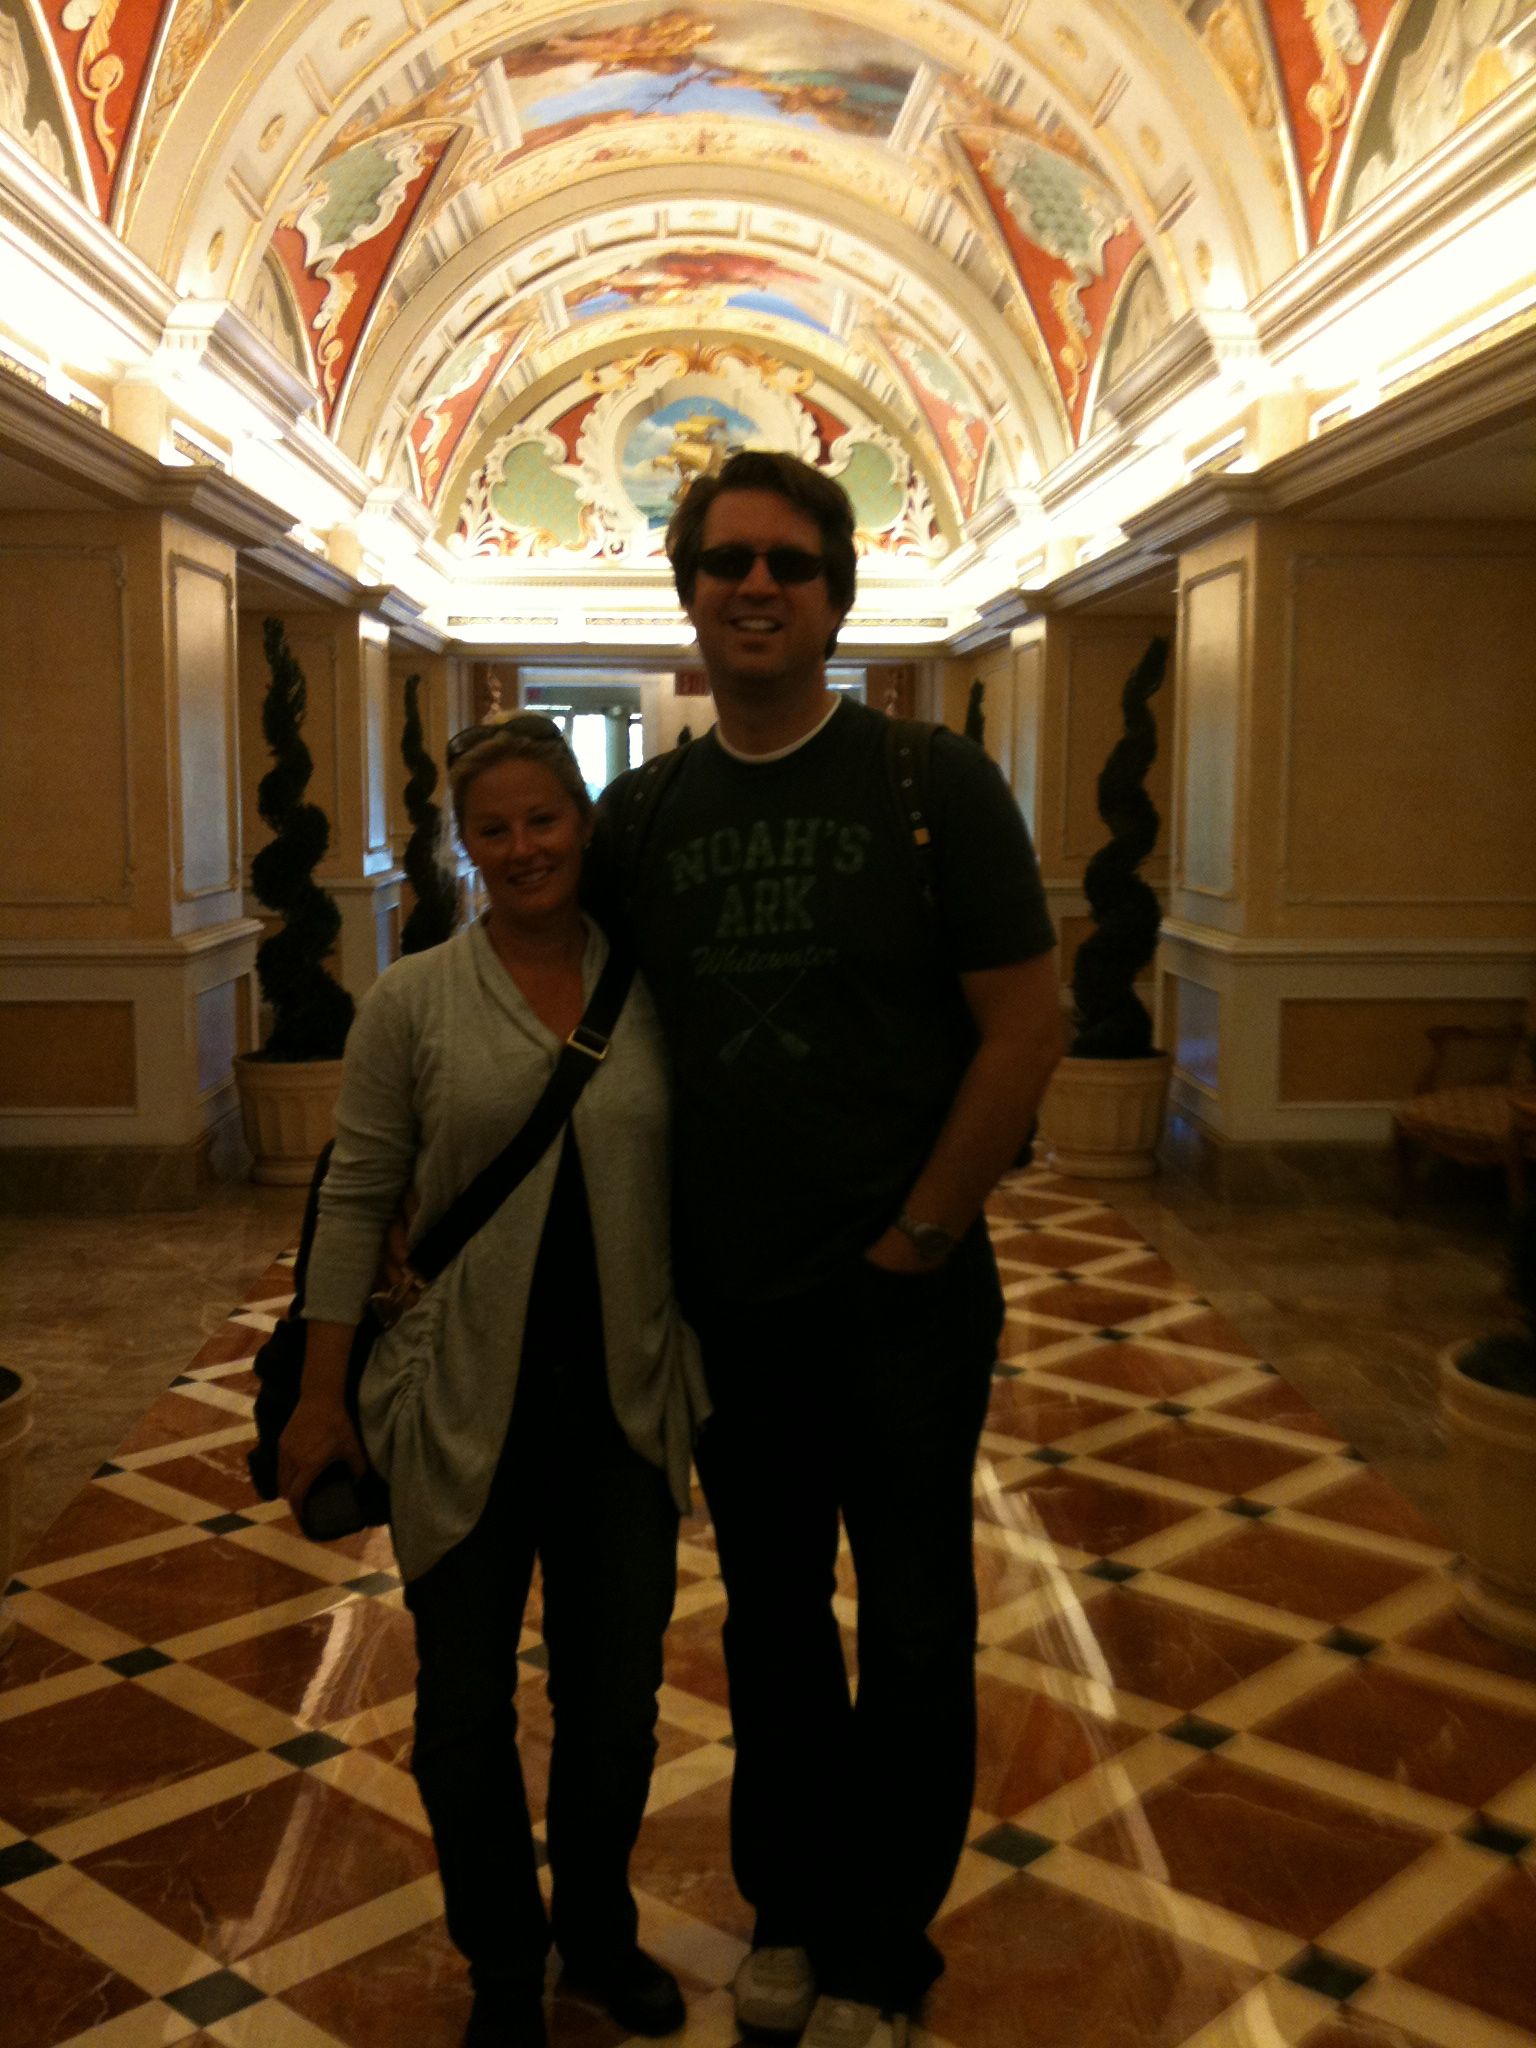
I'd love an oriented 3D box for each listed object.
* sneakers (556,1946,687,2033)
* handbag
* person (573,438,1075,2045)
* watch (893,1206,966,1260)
[{"bbox_3d":[-0.166,1.157,1.723,0.168,0.108,0.081,1,-1,9],"label":"sneakers"},{"bbox_3d":[-0.467,0.352,1.613,0.230,0.387,0.102,-2,-9,26],"label":"handbag"},{"bbox_3d":[0.056,0.299,1.548,0.517,1.803,0.330,0,-1,5],"label":"person"},{"bbox_3d":[0.158,0.209,1.399,0.045,0.030,0.051,8,-3,5],"label":"watch"}]
